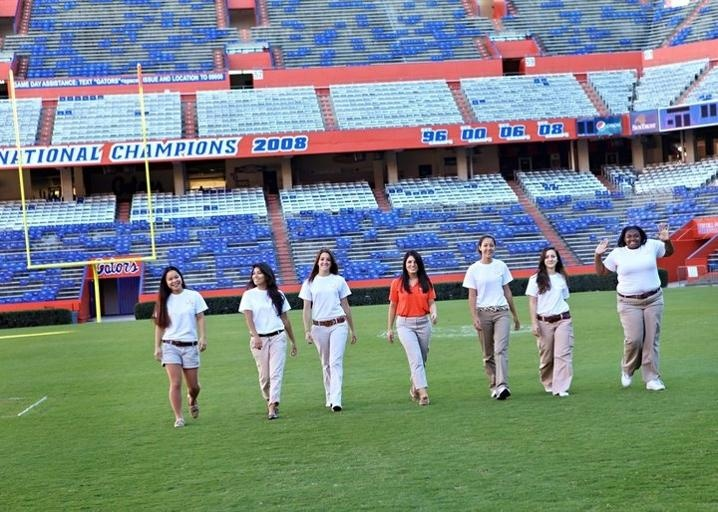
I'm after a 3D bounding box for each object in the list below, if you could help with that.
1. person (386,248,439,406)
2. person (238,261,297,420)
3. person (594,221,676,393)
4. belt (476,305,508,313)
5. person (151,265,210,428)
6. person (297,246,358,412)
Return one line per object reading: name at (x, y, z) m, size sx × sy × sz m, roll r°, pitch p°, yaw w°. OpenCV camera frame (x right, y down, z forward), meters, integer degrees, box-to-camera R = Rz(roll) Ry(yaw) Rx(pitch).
person at (0.760, 1.010, 11.535) m, size 0.697 × 2.237 × 1.176 m, roll -6°, pitch 8°, yaw 4°
person at (-1.219, 1.165, 11.212) m, size 0.671 × 2.123 × 0.565 m, roll -8°, pitch 8°, yaw -9°
person at (3.885, 0.737, 11.415) m, size 0.977 × 2.289 × 0.826 m, roll -4°, pitch 8°, yaw 20°
belt at (1.854, 0.733, 11.279) m, size 0.414 × 0.096 × 0.058 m, roll -6°, pitch 8°, yaw -5°
person at (-2.355, 1.216, 11.004) m, size 0.724 × 2.155 × 0.735 m, roll -8°, pitch 8°, yaw -11°
person at (-0.408, 1.037, 11.574) m, size 0.697 × 2.294 × 0.963 m, roll -7°, pitch 8°, yaw -5°
